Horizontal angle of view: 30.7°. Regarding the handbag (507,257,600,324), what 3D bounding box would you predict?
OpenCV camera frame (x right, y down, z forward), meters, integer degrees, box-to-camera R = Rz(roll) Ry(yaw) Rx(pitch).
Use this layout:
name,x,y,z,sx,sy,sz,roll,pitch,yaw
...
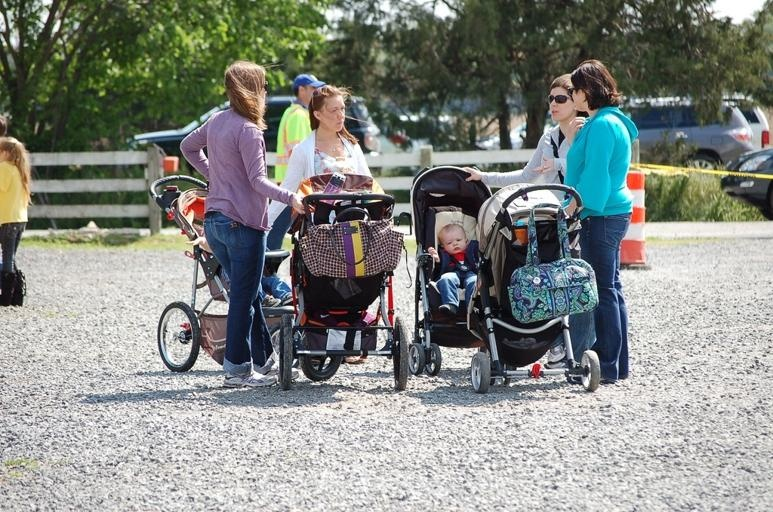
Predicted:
name,x,y,z,sx,sy,sz,roll,pitch,yaw
handbag,1.993,0.406,17.331,0.604,0.659,0.249,-10,-7,-12

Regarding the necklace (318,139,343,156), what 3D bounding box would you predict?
name,x,y,z,sx,sy,sz,roll,pitch,yaw
necklace,-0.735,-1.351,18.054,0.209,0.068,0.218,1,19,-25

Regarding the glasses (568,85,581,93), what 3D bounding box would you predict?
name,x,y,z,sx,sy,sz,roll,pitch,yaw
glasses,2.366,-2.088,17.795,0.116,0.069,0.168,1,-1,4

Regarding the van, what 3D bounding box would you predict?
name,x,y,z,sx,sy,sz,roll,pitch,yaw
van,6.676,-2.526,30.461,3.133,1.545,1.563,5,10,5

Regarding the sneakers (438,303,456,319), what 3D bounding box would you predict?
name,x,y,z,sx,sy,sz,roll,pitch,yaw
sneakers,0.757,0.684,17.741,0.137,0.120,0.212,-30,17,-28

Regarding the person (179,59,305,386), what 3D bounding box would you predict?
name,x,y,z,sx,sy,sz,roll,pitch,yaw
person,-1.841,-0.389,17.583,1.189,4.031,0.648,0,2,2

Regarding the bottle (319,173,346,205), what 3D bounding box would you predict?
name,x,y,z,sx,sy,sz,roll,pitch,yaw
bottle,-0.689,-0.809,17.455,0.210,0.456,0.050,22,-25,-1

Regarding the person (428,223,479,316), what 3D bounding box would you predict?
name,x,y,z,sx,sy,sz,roll,pitch,yaw
person,0.876,0.169,18.019,0.839,0.574,1.455,-1,35,-3

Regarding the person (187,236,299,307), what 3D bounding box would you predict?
name,x,y,z,sx,sy,sz,roll,pitch,yaw
person,-1.792,0.237,18.210,0.992,1.226,0.895,-7,4,1

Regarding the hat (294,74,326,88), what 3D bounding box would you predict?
name,x,y,z,sx,sy,sz,roll,pitch,yaw
hat,-1.098,-2.419,19.665,0.425,0.179,0.291,-1,11,-4

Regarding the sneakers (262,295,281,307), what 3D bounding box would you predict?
name,x,y,z,sx,sy,sz,roll,pitch,yaw
sneakers,-1.518,0.583,18.233,0.250,0.132,0.106,-3,2,17

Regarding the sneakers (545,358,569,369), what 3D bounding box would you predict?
name,x,y,z,sx,sy,sz,roll,pitch,yaw
sneakers,2.126,1.334,17.705,0.281,0.146,0.111,1,2,-5
